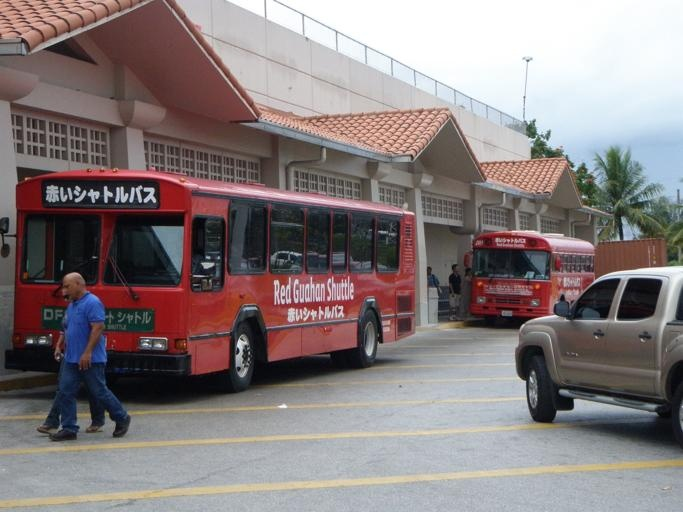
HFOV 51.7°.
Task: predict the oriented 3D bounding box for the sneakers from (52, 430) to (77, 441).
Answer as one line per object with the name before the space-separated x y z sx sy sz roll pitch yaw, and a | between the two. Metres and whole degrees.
sneakers | -3.427 2.216 8.833 0.318 0.163 0.122 7 0 -16

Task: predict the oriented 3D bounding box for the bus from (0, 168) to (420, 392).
bus | -1.857 0.577 15.359 3.846 3.977 10.381 -3 0 34

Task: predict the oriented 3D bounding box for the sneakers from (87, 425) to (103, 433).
sneakers | -3.269 2.299 9.411 0.203 0.086 0.106 12 -14 -37

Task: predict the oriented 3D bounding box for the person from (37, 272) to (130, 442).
person | -3.324 1.273 9.005 0.961 2.217 0.889 -2 0 -33
